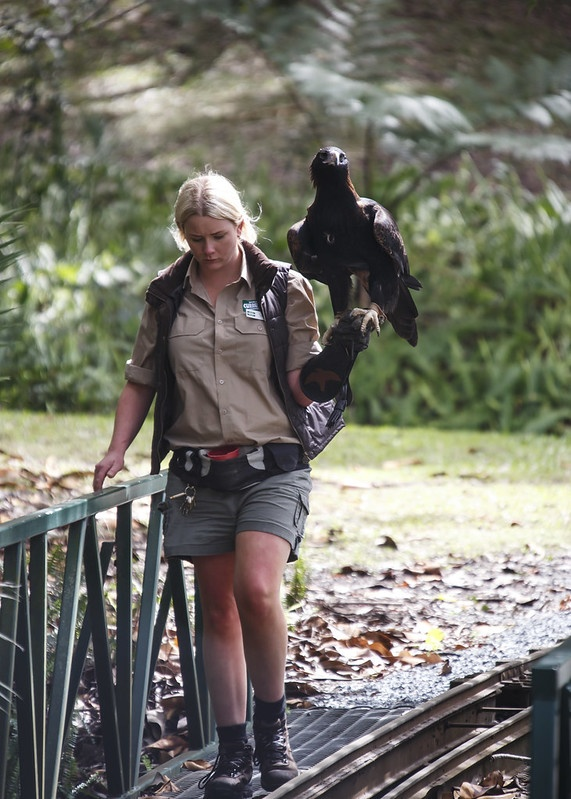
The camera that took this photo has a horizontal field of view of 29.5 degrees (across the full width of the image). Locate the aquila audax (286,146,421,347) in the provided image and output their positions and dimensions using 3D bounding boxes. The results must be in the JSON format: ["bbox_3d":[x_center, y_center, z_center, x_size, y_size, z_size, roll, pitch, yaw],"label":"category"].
[{"bbox_3d":[0.192,-0.456,3.357,0.370,0.530,0.620,-2,-3,16],"label":"aquila audax"}]

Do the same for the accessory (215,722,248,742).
[{"bbox_3d":[-0.148,0.891,2.889,0.066,0.043,0.058,-8,-22,-1],"label":"accessory"}]

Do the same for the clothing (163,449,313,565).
[{"bbox_3d":[-0.130,0.276,2.826,0.344,0.256,0.164,-2,-35,10],"label":"clothing"}]

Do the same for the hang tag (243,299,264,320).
[{"bbox_3d":[-0.090,-0.234,2.842,0.067,0.068,0.008,-4,-22,-24],"label":"hang tag"}]

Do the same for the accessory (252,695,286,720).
[{"bbox_3d":[-0.046,0.816,2.846,0.080,0.061,0.069,0,8,5],"label":"accessory"}]

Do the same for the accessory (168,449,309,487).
[{"bbox_3d":[-0.126,0.176,2.860,0.360,0.127,0.109,0,6,0],"label":"accessory"}]

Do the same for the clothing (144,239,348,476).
[{"bbox_3d":[-0.121,-0.109,2.917,0.584,0.578,0.341,-2,3,4],"label":"clothing"}]
